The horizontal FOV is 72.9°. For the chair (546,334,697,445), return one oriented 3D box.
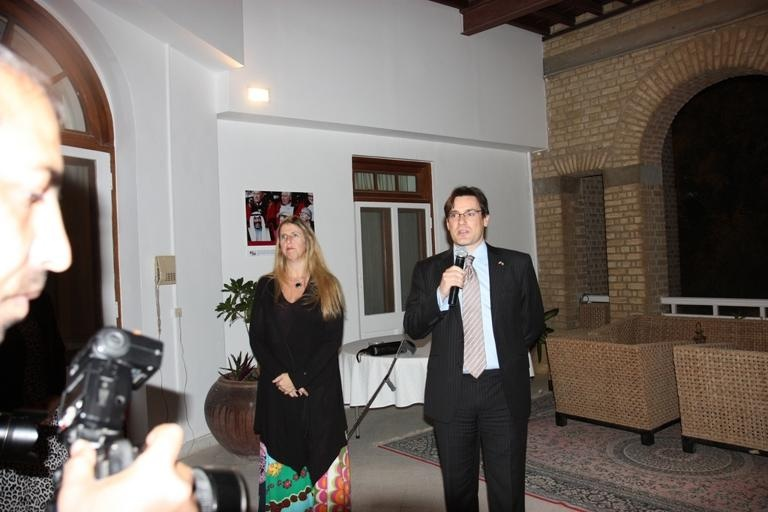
[{"bbox_3d":[2.616,1.253,5.489,1.446,0.875,1.170,-2,-3,-32],"label":"chair"}]
